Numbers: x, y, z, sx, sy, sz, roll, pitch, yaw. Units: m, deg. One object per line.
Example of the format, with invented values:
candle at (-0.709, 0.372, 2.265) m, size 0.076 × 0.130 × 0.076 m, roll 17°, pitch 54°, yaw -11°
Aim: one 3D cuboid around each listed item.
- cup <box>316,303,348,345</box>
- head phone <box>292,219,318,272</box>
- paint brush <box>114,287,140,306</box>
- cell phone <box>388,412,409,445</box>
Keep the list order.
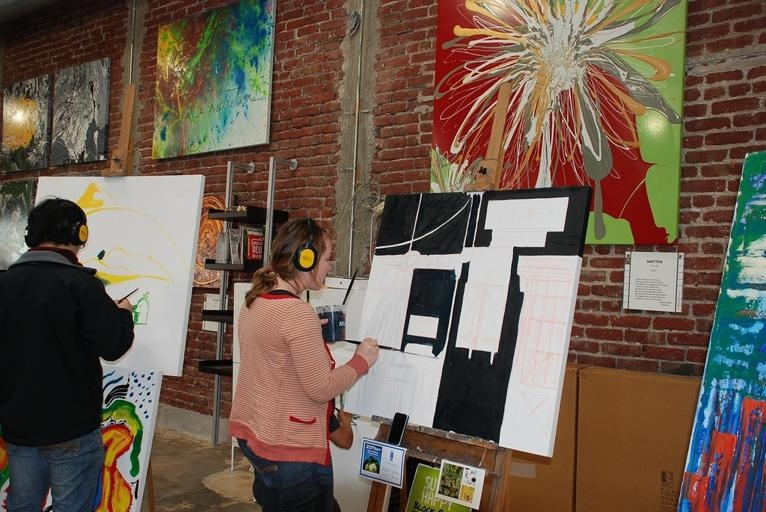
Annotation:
cup at (-0.224, 0.331, 2.517) m, size 0.151 × 0.190 × 0.167 m, roll -1°, pitch -9°, yaw -2°
head phone at (-0.306, -0.021, 2.294) m, size 0.095 × 0.232 × 0.242 m, roll 6°, pitch -14°, yaw 2°
paint brush at (-1.475, 0.242, 2.947) m, size 0.133 × 0.041 × 0.024 m, roll -36°, pitch -25°, yaw -1°
cell phone at (0.084, 0.826, 2.395) m, size 0.091 × 0.152 × 0.033 m, roll 5°, pitch -3°, yaw 5°
